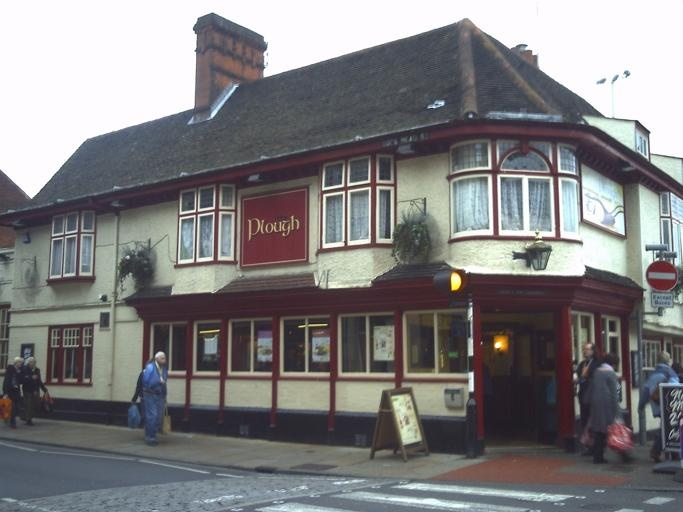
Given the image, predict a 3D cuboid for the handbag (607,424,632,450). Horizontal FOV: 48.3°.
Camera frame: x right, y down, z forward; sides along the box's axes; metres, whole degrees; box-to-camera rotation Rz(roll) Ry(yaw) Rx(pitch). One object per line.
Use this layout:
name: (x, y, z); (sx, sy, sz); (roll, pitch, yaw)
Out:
handbag: (6.129, 4.034, 16.867); (0.540, 0.612, 0.387); (-14, -19, 33)

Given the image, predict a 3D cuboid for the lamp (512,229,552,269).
lamp: (4.870, -0.170, 19.154); (0.828, 1.173, 0.588); (19, -28, -30)

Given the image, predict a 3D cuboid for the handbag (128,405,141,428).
handbag: (-5.667, 4.393, 20.921); (0.316, 0.617, 0.504); (1, -10, -14)

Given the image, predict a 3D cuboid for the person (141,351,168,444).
person: (-5.140, 3.909, 20.910); (0.685, 2.433, 0.616); (4, -11, -31)

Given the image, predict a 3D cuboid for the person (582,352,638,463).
person: (6.119, 3.527, 17.605); (0.847, 2.490, 1.346); (-4, -10, 18)
